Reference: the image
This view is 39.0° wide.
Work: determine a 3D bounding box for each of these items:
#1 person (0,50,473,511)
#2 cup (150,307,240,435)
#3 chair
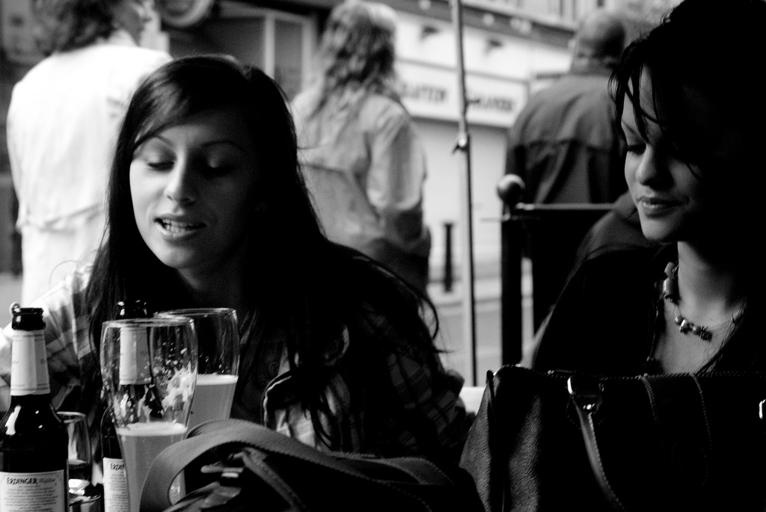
[{"bbox_3d":[-0.232,0.026,2.794,1.283,1.420,0.802,-2,-2,9],"label":"person"},{"bbox_3d":[-0.348,0.223,2.173,0.188,0.364,0.204,1,-1,0],"label":"cup"},{"bbox_3d":[0.466,0.070,3.054,0.336,0.556,0.292,5,9,6],"label":"chair"}]
